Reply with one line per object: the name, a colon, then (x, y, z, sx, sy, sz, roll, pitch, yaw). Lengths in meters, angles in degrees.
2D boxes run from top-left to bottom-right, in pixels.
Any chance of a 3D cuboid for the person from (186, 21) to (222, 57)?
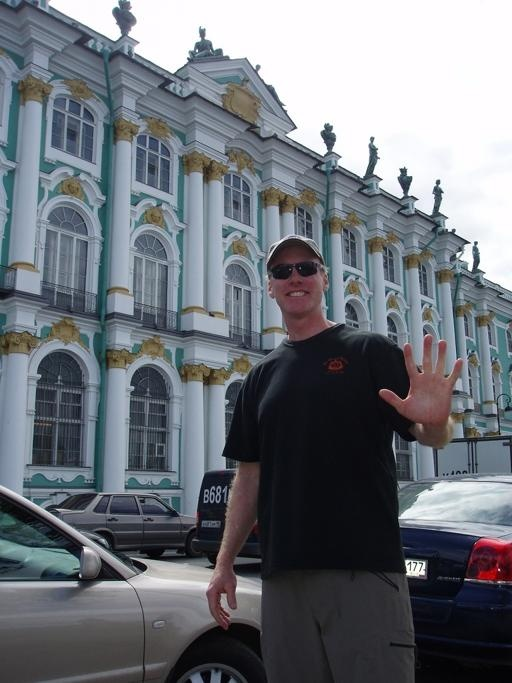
person: (-2.020, -11.737, 24.918, 1.236, 1.965, 1.170, -1, -9, -4)
